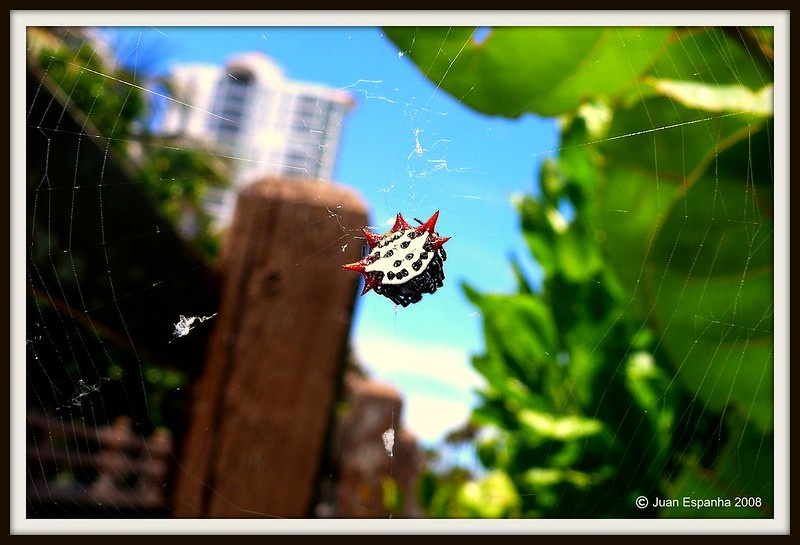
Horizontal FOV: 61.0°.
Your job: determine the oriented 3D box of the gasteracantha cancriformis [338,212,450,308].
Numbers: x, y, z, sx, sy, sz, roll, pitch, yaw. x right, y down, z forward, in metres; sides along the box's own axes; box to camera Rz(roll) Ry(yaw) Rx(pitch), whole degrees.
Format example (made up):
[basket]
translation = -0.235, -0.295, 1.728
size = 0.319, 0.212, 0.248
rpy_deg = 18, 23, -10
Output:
[gasteracantha cancriformis]
translation = 0.009, -0.144, 7.655
size = 1.094, 1.018, 0.335
rpy_deg = -17, -2, -1
